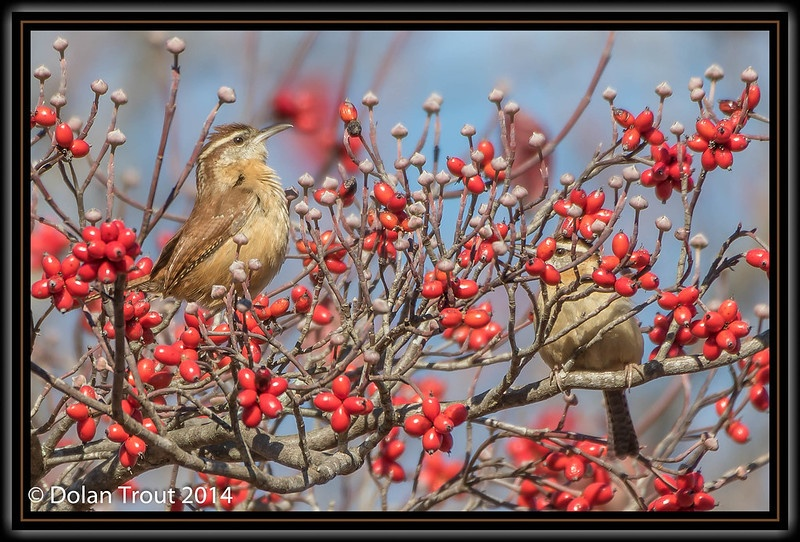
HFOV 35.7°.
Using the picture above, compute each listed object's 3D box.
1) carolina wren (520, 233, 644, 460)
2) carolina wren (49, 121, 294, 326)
[{"bbox_3d":[1.098,0.608,10.103,1.033,2.002,2.079,-1,-82,3],"label":"carolina wren"},{"bbox_3d":[-2.360,-0.348,12.112,2.996,1.321,1.765,-11,-88,5],"label":"carolina wren"}]
